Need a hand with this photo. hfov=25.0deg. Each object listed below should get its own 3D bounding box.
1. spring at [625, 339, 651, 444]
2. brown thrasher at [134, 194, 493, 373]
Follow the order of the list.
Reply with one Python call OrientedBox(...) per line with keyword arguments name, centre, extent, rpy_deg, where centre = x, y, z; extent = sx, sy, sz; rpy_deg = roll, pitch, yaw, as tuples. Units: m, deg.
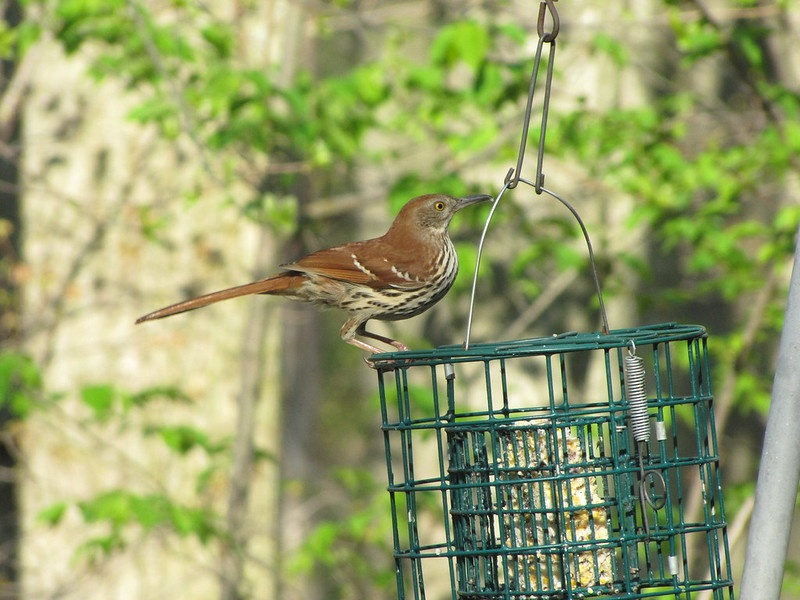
OrientedBox(name="spring", centre=(1.241, 0.492, 9.480), extent=(0.116, 0.555, 0.117), rpy_deg=(-2, 8, 0))
OrientedBox(name="brown thrasher", centre=(-0.577, -0.160, 10.593), extent=(1.389, 1.228, 1.524), rpy_deg=(-2, 5, -26))
